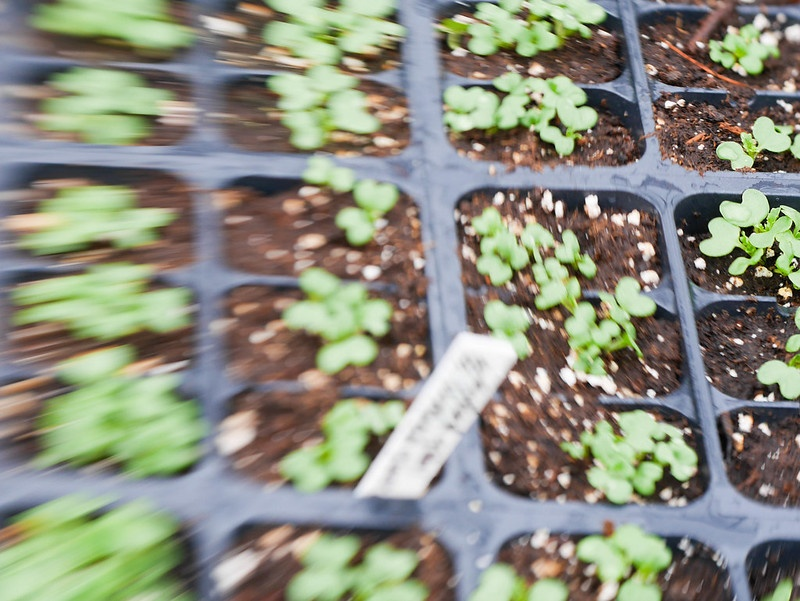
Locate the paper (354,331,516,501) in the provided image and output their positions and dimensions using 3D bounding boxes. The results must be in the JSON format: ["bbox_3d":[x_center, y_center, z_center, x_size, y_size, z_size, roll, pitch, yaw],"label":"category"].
[{"bbox_3d":[0.014,0.204,1.021,0.163,0.460,0.040,17,35,-28],"label":"paper"}]
